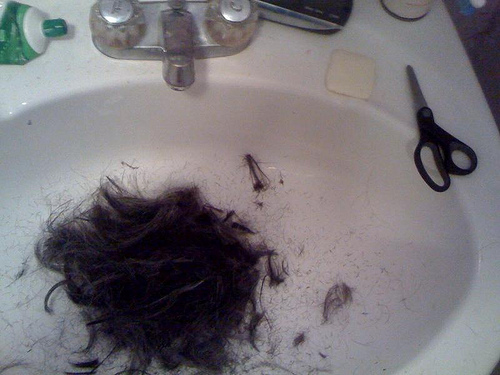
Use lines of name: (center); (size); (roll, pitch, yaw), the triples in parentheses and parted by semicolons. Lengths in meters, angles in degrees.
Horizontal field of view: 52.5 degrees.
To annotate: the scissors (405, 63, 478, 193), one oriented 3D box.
scissors: (0.384, -0.126, 1.117); (0.112, 0.058, 0.269); (-33, 83, -10)
